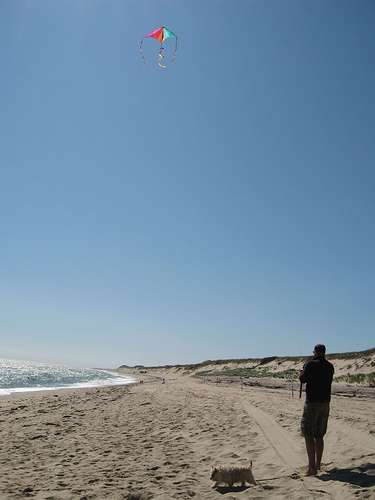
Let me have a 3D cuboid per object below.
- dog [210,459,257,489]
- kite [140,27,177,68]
[{"bbox_3d":[0.668,3.334,5.761,0.832,0.540,0.285,-1,-29,3],"label":"dog"},{"bbox_3d":[-0.521,-3.932,7.665,0.710,0.982,0.102,2,-14,3],"label":"kite"}]
